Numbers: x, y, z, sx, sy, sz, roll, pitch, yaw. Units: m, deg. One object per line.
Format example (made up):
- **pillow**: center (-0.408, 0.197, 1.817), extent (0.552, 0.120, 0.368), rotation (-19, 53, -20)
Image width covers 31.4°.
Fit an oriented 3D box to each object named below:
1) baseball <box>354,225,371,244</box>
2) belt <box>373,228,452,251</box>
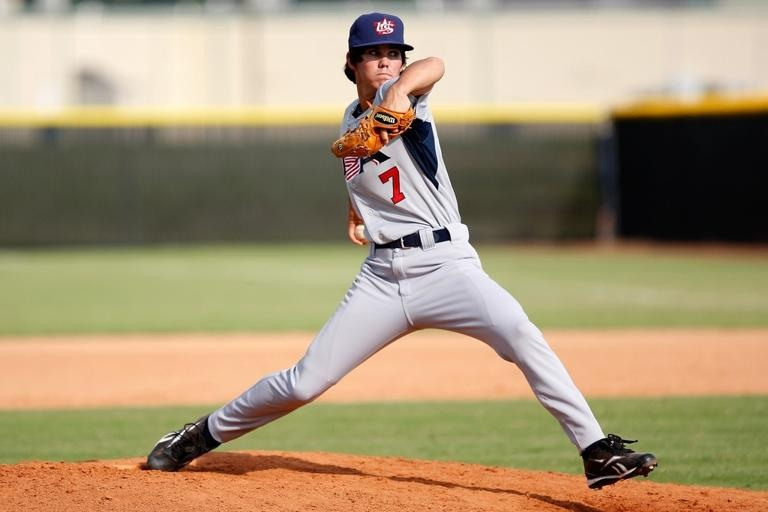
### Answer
- **baseball**: center (-0.325, -0.306, 18.173), extent (0.250, 0.216, 0.093), rotation (-3, -6, 26)
- **belt**: center (0.376, -0.239, 17.692), extent (0.948, 0.281, 0.083), rotation (1, 8, 2)
